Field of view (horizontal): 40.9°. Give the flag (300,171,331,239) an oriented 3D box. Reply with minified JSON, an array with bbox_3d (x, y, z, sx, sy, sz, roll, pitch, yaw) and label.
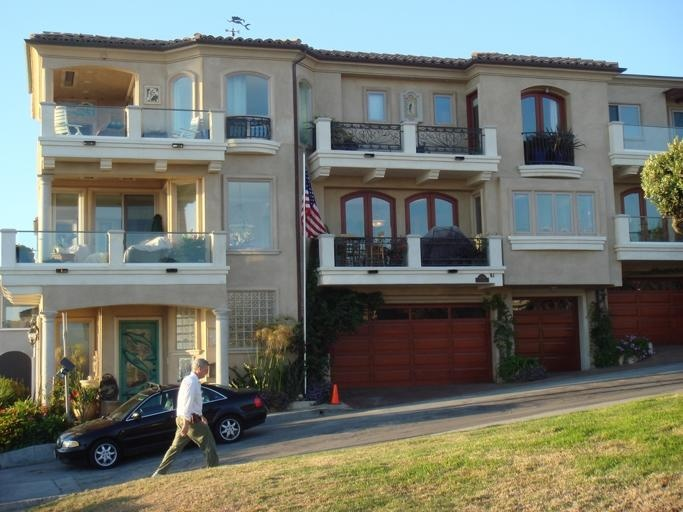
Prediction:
[{"bbox_3d":[-1.058,-1.801,31.184,0.715,2.236,0.743,-4,1,-4],"label":"flag"}]

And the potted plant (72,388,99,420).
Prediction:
[{"bbox_3d":[-7.995,4.569,28.184,0.810,1.216,0.831,-4,-4,29],"label":"potted plant"}]

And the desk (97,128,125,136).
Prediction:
[{"bbox_3d":[-7.737,-4.106,30.456,0.919,0.310,0.190,-5,1,-15],"label":"desk"}]

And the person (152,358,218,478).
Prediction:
[{"bbox_3d":[-3.625,3.672,20.975,1.039,2.661,1.237,-4,1,41],"label":"person"}]

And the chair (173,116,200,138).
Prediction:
[{"bbox_3d":[-5.301,-4.288,30.844,1.123,0.875,0.640,0,-8,-7],"label":"chair"}]

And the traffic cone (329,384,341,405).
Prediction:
[{"bbox_3d":[-0.156,4.642,30.451,0.465,0.710,0.504,0,-6,-2],"label":"traffic cone"}]

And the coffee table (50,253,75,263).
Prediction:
[{"bbox_3d":[-8.848,0.064,28.806,0.705,0.296,0.154,-5,1,-28],"label":"coffee table"}]

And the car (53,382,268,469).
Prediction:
[{"bbox_3d":[-5.097,4.806,25.223,5.168,1.715,2.260,-1,-5,-20],"label":"car"}]
